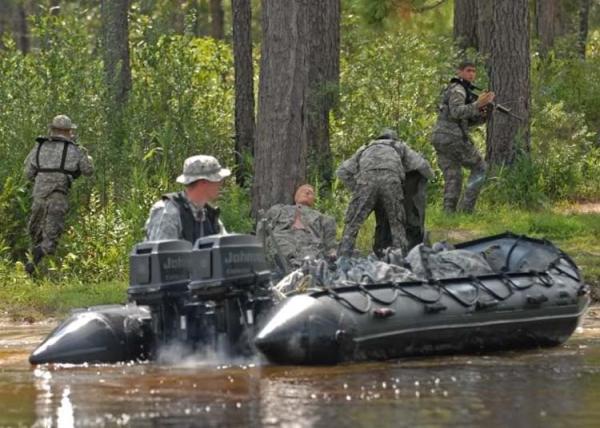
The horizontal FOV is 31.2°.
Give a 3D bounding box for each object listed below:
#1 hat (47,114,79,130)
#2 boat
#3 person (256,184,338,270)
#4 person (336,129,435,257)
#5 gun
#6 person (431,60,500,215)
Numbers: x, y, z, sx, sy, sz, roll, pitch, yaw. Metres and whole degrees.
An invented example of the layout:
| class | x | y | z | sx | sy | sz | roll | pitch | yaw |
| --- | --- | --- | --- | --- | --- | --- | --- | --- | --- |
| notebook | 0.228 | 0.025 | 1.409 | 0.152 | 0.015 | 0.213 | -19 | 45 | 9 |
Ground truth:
| class | x | y | z | sx | sy | sz | roll | pitch | yaw |
| --- | --- | --- | --- | --- | --- | --- | --- | --- | --- |
| hat | -4.340 | -1.697 | 19.594 | 0.377 | 0.166 | 0.440 | 5 | -1 | -7 |
| boat | 0.409 | 1.112 | 14.784 | 7.114 | 1.875 | 1.457 | -3 | 2 | -16 |
| person | 0.010 | 0.212 | 16.476 | 0.872 | 0.655 | 1.356 | 14 | 16 | -4 |
| person | 1.327 | -0.182 | 17.236 | 1.484 | 2.752 | 1.053 | 4 | -29 | 5 |
| gun | 3.552 | -2.095 | 19.740 | 1.143 | 0.470 | 0.131 | 34 | 40 | 1 |
| person | 2.838 | -1.366 | 19.064 | 0.972 | 2.678 | 0.949 | -2 | 2 | 19 |
